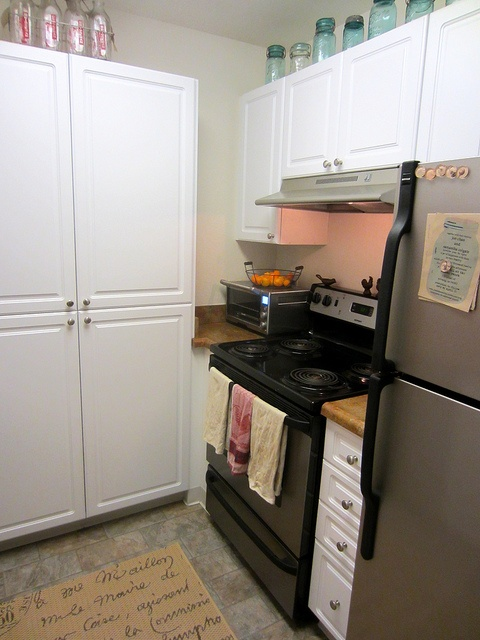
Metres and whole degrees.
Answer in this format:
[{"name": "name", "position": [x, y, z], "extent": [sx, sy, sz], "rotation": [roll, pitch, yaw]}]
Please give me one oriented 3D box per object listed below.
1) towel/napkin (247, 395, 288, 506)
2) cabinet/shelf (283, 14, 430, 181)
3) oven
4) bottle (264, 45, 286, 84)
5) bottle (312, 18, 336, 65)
[{"name": "towel/napkin", "position": [0.097, 0.455, 1.555], "extent": [0.067, 0.334, 0.215], "rotation": [-3, 9, -27]}, {"name": "cabinet/shelf", "position": [0.458, -0.749, 1.720], "extent": [0.331, 0.430, 0.596], "rotation": [-2, 8, -42]}, {"name": "oven", "position": [0.162, 0.590, 1.798], "extent": [0.428, 0.882, 0.586], "rotation": [-8, 20, -40]}, {"name": "bottle", "position": [0.167, -1.168, 2.084], "extent": [0.081, 0.156, 0.143], "rotation": [1, 8, -1]}, {"name": "bottle", "position": [0.337, -1.096, 1.790], "extent": [0.085, 0.166, 0.087], "rotation": [0, 15, 0]}]
